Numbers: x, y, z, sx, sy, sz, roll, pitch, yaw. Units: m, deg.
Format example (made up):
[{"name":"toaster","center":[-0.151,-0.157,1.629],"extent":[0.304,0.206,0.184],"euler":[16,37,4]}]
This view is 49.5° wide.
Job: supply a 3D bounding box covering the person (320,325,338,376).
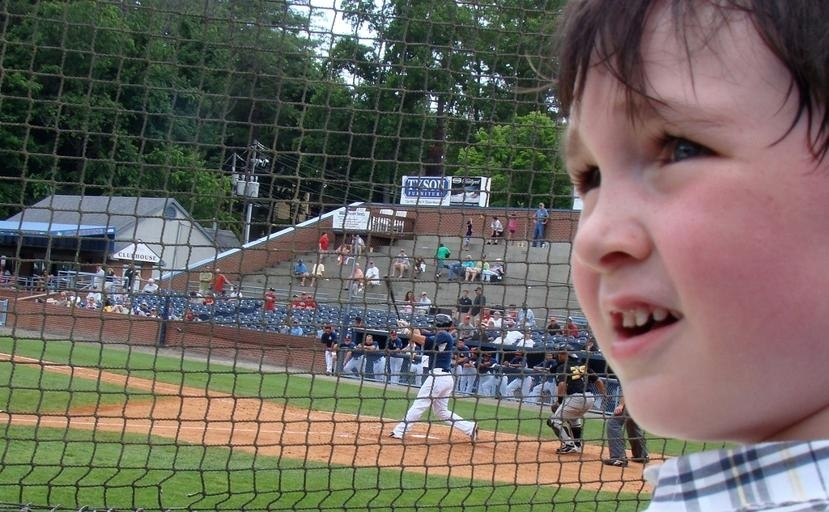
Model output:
[{"name":"person","center":[-1.265,1.392,13.276],"extent":[0.235,0.756,0.221],"euler":[-2,-1,-30]}]
